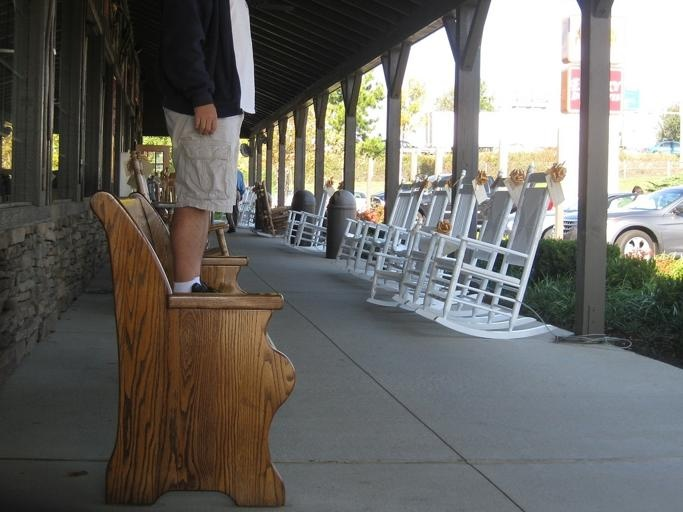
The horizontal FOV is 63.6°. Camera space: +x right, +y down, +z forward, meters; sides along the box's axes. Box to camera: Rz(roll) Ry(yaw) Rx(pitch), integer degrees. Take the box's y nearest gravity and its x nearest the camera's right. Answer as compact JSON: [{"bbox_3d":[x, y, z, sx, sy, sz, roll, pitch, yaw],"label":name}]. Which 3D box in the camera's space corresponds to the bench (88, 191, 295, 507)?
[{"bbox_3d":[-0.501,0.285,2.467,0.828,1.384,0.960,0,1,-6],"label":"bench"}]
